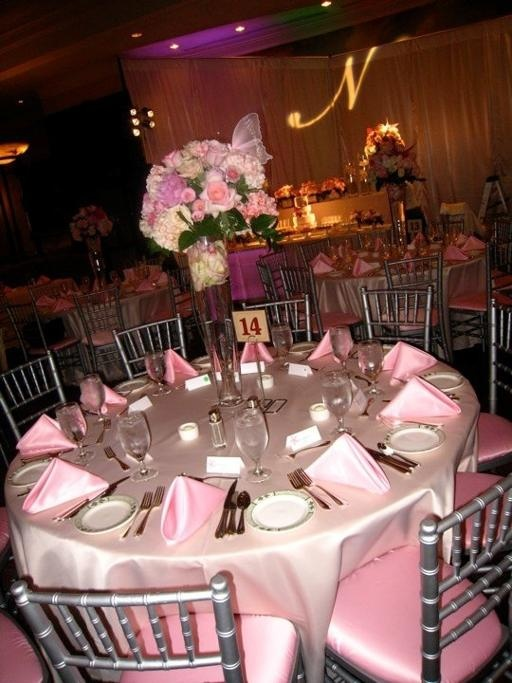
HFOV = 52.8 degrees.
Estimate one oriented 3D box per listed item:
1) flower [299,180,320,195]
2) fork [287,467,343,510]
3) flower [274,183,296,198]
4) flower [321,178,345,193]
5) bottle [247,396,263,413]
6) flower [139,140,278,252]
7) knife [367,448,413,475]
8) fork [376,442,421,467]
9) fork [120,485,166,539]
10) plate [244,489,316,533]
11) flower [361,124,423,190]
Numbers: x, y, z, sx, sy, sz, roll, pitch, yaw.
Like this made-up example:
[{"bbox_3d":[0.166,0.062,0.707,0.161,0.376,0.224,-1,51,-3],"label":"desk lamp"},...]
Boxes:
[{"bbox_3d":[0.732,-2.107,7.131,0.244,0.178,0.390,-12,16,7],"label":"flower"},{"bbox_3d":[0.136,0.351,1.225,0.045,0.020,0.145,-21,27,-20],"label":"fork"},{"bbox_3d":[0.443,-2.157,7.607,0.300,0.135,0.395,-7,29,6],"label":"flower"},{"bbox_3d":[1.105,-2.141,7.046,0.372,0.132,0.358,10,26,21],"label":"flower"},{"bbox_3d":[-0.004,0.183,1.491,0.038,0.058,0.059,-6,37,5],"label":"bottle"},{"bbox_3d":[-0.133,-0.467,1.751,0.450,0.296,0.450,-11,11,41],"label":"flower"},{"bbox_3d":[0.334,0.287,1.292,0.039,0.012,0.178,-9,11,-18],"label":"knife"},{"bbox_3d":[0.358,0.285,1.302,0.027,0.024,0.144,-19,21,-18],"label":"fork"},{"bbox_3d":[-0.271,0.410,1.244,0.034,0.014,0.119,-5,30,23],"label":"fork"},{"bbox_3d":[0.056,0.378,1.144,0.150,0.015,0.139,-12,16,1],"label":"plate"},{"bbox_3d":[1.228,-1.664,4.673,0.433,0.543,0.519,-9,18,19],"label":"flower"}]
